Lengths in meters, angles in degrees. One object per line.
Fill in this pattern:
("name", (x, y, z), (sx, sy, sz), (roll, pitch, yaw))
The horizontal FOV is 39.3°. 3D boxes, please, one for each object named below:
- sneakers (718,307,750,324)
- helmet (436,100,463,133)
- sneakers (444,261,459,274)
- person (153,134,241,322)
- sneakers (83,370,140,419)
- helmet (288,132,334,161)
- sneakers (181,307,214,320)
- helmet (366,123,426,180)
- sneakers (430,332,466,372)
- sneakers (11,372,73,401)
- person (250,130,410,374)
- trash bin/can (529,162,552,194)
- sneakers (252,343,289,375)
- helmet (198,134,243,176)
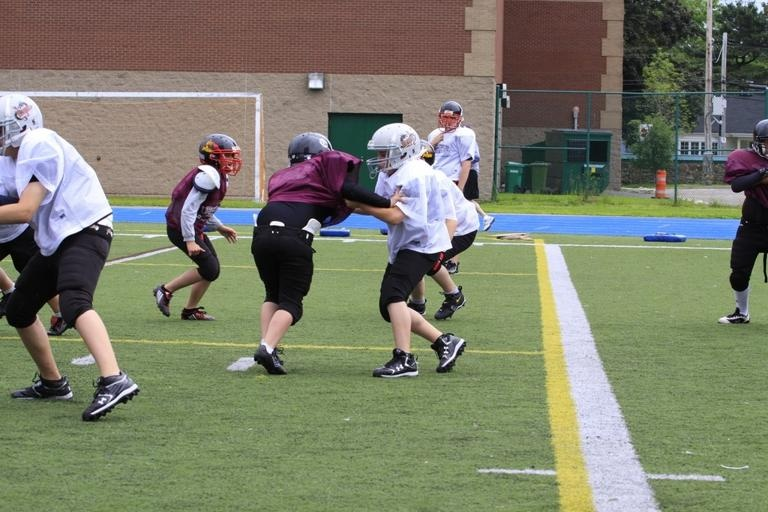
("sneakers", (3.754, 0.642, 11.265), (0.454, 0.179, 0.129), (1, 1, -1))
("helmet", (0.813, -1.832, 14.054), (0.450, 0.323, 0.474), (3, 8, 15))
("sneakers", (0.912, 0.159, 14.368), (0.137, 0.108, 0.307), (1, 5, -5))
("person", (-1.974, -0.290, 11.391), (0.939, 2.001, 1.287), (-2, 15, -8))
("sneakers", (-2.096, 1.086, 8.292), (0.502, 0.228, 0.147), (-29, -34, -6))
("helmet", (-0.655, -0.990, 9.598), (0.394, 0.221, 0.271), (-14, 12, -17))
("sneakers", (-1.906, 0.615, 11.316), (0.426, 0.132, 0.121), (2, 1, 0))
("helmet", (0.100, -0.932, 9.475), (0.480, 0.469, 0.457), (1, 14, 2))
("sneakers", (0.556, 0.809, 9.360), (0.319, 0.428, 0.159), (14, 28, -5))
("sneakers", (-2.695, 1.062, 8.623), (0.580, 0.176, 0.184), (3, -2, -3))
("person", (-0.586, -0.031, 9.460), (1.159, 2.041, 0.938), (-2, 16, -9))
("trash bin/can", (4.513, -2.285, 31.291), (0.942, 0.965, 0.915), (1, -2, 12))
("sneakers", (-0.988, 0.874, 9.325), (0.284, 0.282, 0.294), (-2, 14, -11))
("helmet", (-1.693, -1.069, 11.202), (0.592, 0.353, 0.396), (0, 13, -6))
